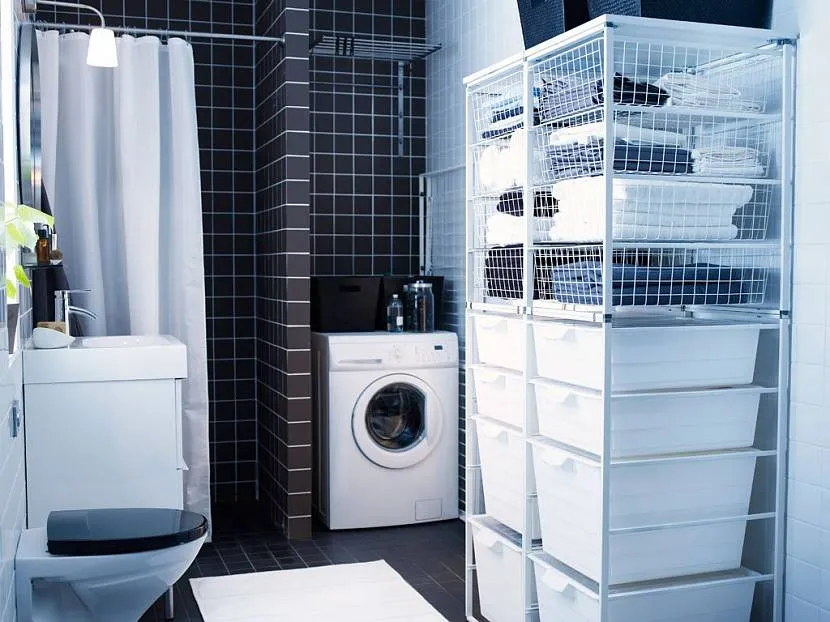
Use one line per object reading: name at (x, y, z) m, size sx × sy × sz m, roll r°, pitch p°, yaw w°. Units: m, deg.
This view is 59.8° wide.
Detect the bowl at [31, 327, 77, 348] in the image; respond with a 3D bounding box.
bowl at (-1.530, 0.108, 3.039) m, size 0.116 × 0.064 × 0.087 m, roll 0°, pitch 1°, yaw -31°

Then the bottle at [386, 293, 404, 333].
bottle at (-0.112, 0.010, 4.247) m, size 0.108 × 0.211 × 0.108 m, roll 0°, pitch 4°, yaw 0°

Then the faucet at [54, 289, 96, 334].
faucet at (-1.589, 0.005, 3.404) m, size 0.163 × 0.226 × 0.521 m, roll -2°, pitch 5°, yaw -24°

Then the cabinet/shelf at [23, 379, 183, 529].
cabinet/shelf at (-1.313, 0.567, 3.253) m, size 0.611 × 0.937 × 0.451 m, roll -1°, pitch 1°, yaw -19°

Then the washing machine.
washing machine at (-0.152, 0.625, 4.516) m, size 0.978 × 1.508 × 0.949 m, roll -1°, pitch 1°, yaw -18°

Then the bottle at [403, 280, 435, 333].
bottle at (0.022, -0.034, 4.263) m, size 0.188 × 0.298 × 0.100 m, roll 0°, pitch 4°, yaw -1°
